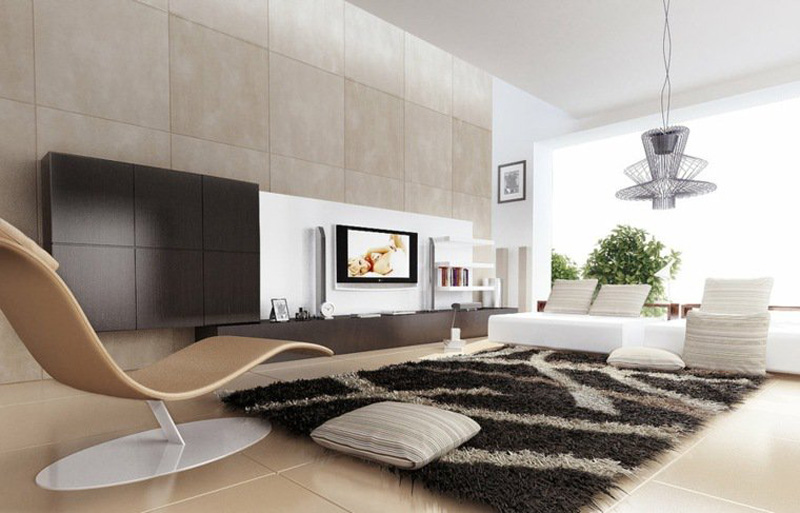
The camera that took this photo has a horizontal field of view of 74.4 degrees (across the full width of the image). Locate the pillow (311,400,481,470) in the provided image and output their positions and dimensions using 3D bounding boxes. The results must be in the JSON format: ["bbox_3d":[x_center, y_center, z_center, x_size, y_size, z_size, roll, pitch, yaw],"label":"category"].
[{"bbox_3d":[-0.067,1.145,3.437,0.530,0.160,0.603,-2,-3,34],"label":"pillow"}]

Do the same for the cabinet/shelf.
[{"bbox_3d":[0.917,0.260,7.822,0.323,0.987,1.108,-5,-7,37],"label":"cabinet/shelf"}]

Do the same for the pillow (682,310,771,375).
[{"bbox_3d":[3.081,0.827,4.958,0.560,0.508,0.209,-1,-15,39],"label":"pillow"}]

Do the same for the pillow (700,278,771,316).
[{"bbox_3d":[3.578,0.404,5.626,0.611,0.376,0.455,6,13,31],"label":"pillow"}]

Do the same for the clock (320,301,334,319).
[{"bbox_3d":[-0.885,0.636,6.259,0.066,0.200,0.181,-10,-12,41],"label":"clock"}]

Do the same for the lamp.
[{"bbox_3d":[3.261,-1.752,6.440,0.941,2.284,2.019,5,13,24],"label":"lamp"}]
